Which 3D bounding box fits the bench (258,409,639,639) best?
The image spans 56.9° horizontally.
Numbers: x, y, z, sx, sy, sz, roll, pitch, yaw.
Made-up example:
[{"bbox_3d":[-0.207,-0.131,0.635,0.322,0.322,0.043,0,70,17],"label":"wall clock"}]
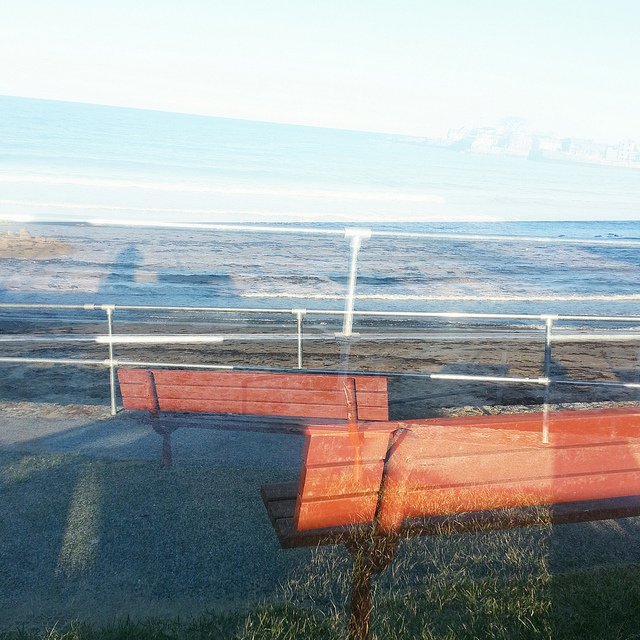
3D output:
[{"bbox_3d":[0.510,0.781,2.191,1.074,0.393,0.352,0,6,-11],"label":"bench"}]
